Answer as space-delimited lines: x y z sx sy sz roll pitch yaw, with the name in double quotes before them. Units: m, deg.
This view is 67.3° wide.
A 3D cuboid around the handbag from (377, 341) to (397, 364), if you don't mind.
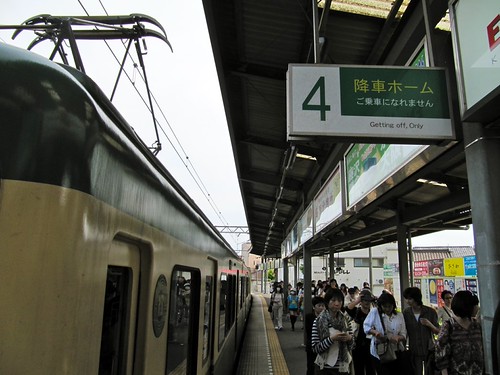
"handbag" 1.687 2.023 4.637 0.146 0.248 0.133 -17 -34 11
